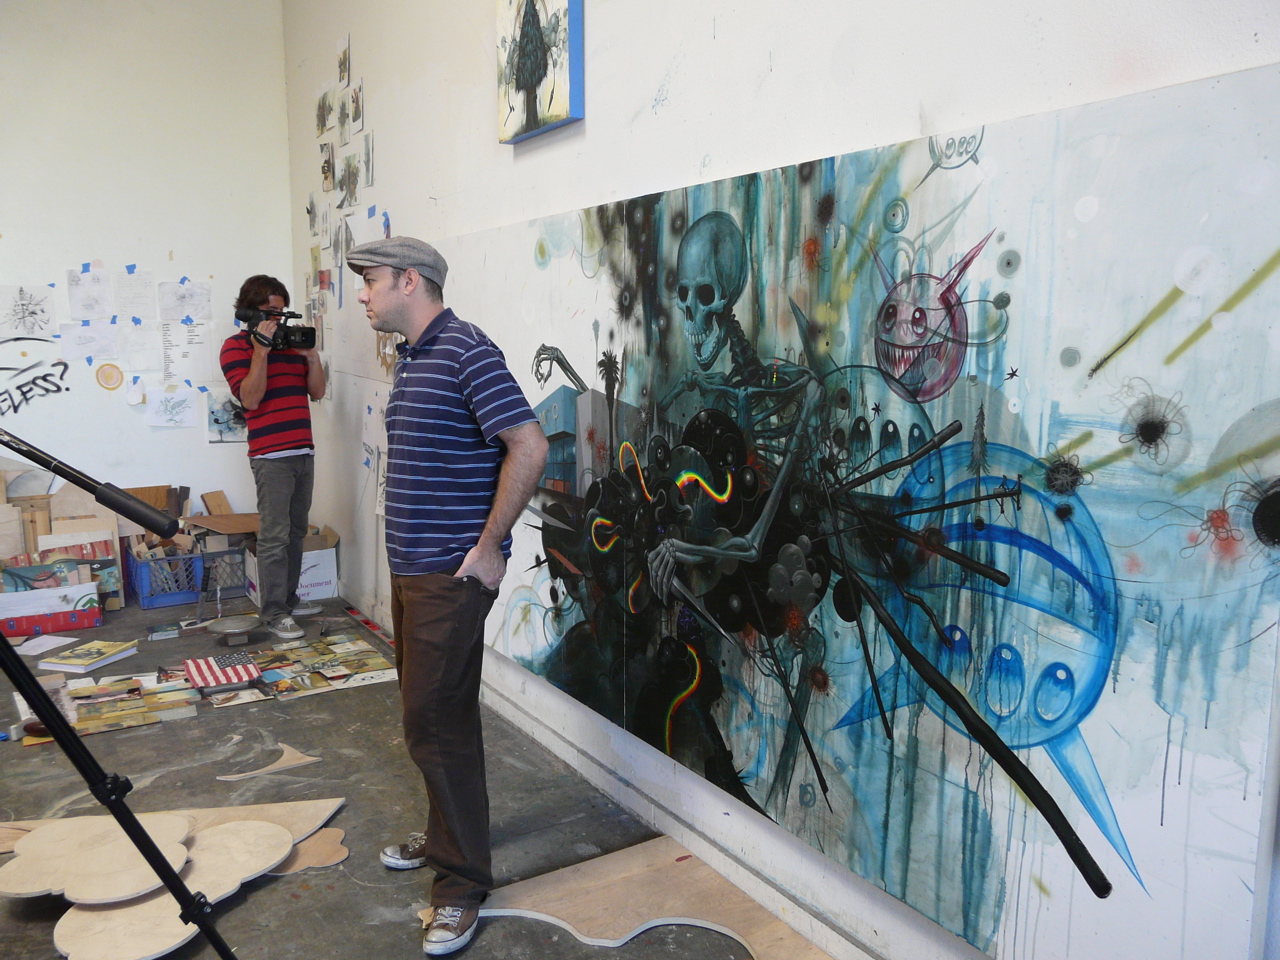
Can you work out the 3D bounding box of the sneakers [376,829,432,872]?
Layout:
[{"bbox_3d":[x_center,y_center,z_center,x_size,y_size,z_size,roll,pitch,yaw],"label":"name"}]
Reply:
[{"bbox_3d":[-0.738,1.195,2.929,0.204,0.106,0.083,11,-9,-39],"label":"sneakers"}]

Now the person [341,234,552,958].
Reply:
[{"bbox_3d":[-0.542,0.300,2.627,0.386,1.963,0.504,-6,11,-36],"label":"person"}]

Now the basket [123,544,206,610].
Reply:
[{"bbox_3d":[-2.792,0.544,5.375,0.337,0.351,0.338,0,-1,-43],"label":"basket"}]

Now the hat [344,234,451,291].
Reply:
[{"bbox_3d":[-0.691,-0.635,2.610,0.217,0.113,0.156,12,3,-20],"label":"hat"}]
